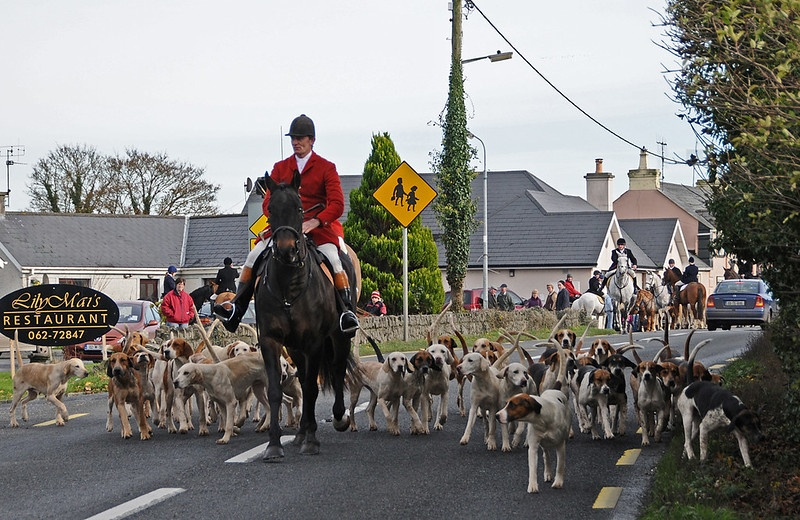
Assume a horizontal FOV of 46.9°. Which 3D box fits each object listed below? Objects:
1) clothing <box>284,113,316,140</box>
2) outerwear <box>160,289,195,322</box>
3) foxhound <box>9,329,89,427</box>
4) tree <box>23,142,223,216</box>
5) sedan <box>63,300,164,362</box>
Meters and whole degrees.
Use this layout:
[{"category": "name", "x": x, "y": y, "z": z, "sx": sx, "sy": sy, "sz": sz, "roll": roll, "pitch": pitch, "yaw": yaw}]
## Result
[{"category": "clothing", "x": -1.511, "y": -2.091, "z": 14.253, "sx": 0.356, "sy": 0.309, "sz": 0.516, "roll": 0, "pitch": 0, "yaw": -7}, {"category": "outerwear", "x": -6.138, "y": 1.263, "z": 25.415, "sx": 0.557, "sy": 0.972, "sz": 1.035, "roll": -13, "pitch": -11, "yaw": 35}, {"category": "foxhound", "x": -6.283, "y": 2.342, "z": 16.461, "sx": 1.420, "sy": 1.220, "sz": 0.462, "roll": 0, "pitch": -2, "yaw": 14}, {"category": "tree", "x": -17.942, "y": -4.534, "z": 56.715, "sx": 7.283, "sy": 4.540, "sz": 6.362, "roll": 3, "pitch": -4, "yaw": -25}, {"category": "sedan", "x": -9.222, "y": 2.206, "z": 29.461, "sx": 2.751, "sy": 2.197, "sz": 4.616, "roll": -1, "pitch": -6, "yaw": 5}]
